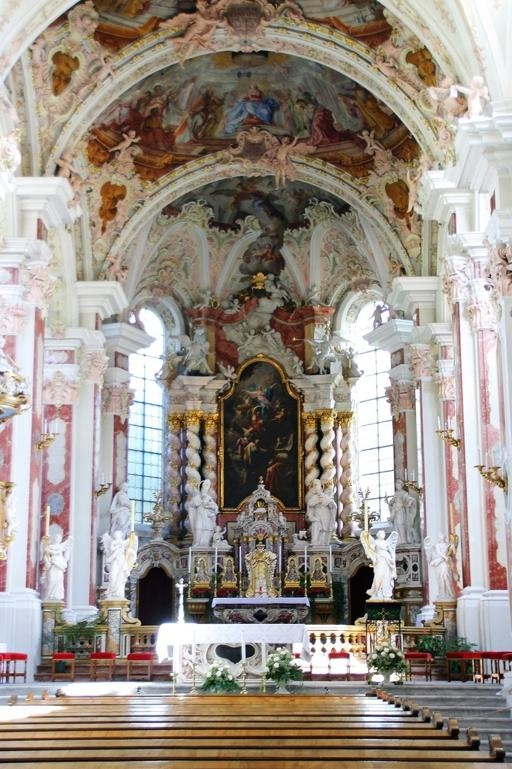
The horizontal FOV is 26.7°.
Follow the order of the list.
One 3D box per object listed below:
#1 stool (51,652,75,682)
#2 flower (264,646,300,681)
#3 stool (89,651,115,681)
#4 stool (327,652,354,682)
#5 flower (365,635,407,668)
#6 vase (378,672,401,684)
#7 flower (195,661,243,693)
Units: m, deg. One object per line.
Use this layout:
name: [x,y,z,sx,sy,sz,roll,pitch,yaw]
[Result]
stool: [-2.438,3.596,13.710,0.297,0.347,1.153,3,-19,-10]
flower: [0.290,2.982,11.429,0.392,0.344,0.337,1,-3,4]
stool: [-2.039,3.771,14.418,0.321,0.399,1.044,2,-19,-8]
stool: [1.072,3.611,13.887,0.283,0.413,0.789,-2,-19,4]
flower: [1.475,3.019,11.950,0.316,0.312,0.319,0,-3,37]
vase: [1.469,3.237,11.795,0.217,0.135,0.200,4,-25,-6]
flower: [-0.365,3.055,11.057,0.401,0.244,0.365,4,-3,-1]
